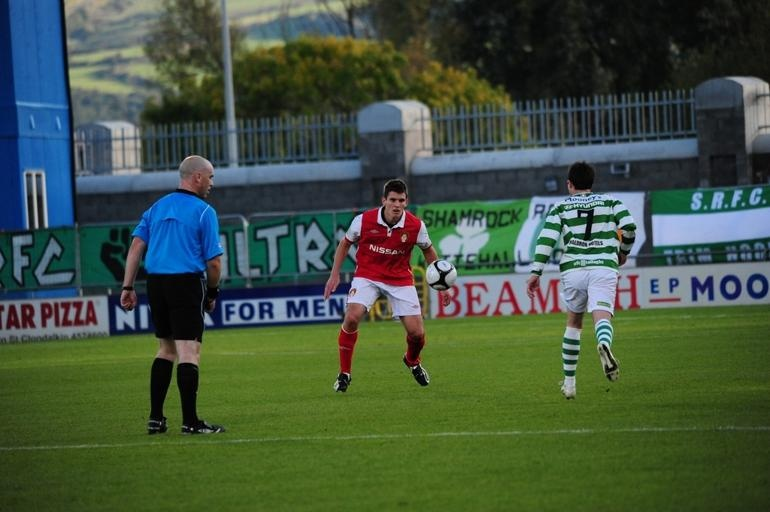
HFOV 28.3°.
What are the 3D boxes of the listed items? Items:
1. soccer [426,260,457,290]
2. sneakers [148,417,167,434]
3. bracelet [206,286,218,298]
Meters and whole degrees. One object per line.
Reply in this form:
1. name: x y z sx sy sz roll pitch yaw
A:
1. soccer: 1.138 0.415 30.119 0.541 0.582 0.560 -27 -8 5
2. sneakers: -4.145 3.123 27.812 0.162 0.227 0.477 2 5 5
3. bracelet: -3.129 0.679 27.822 0.194 0.217 0.206 4 7 13
